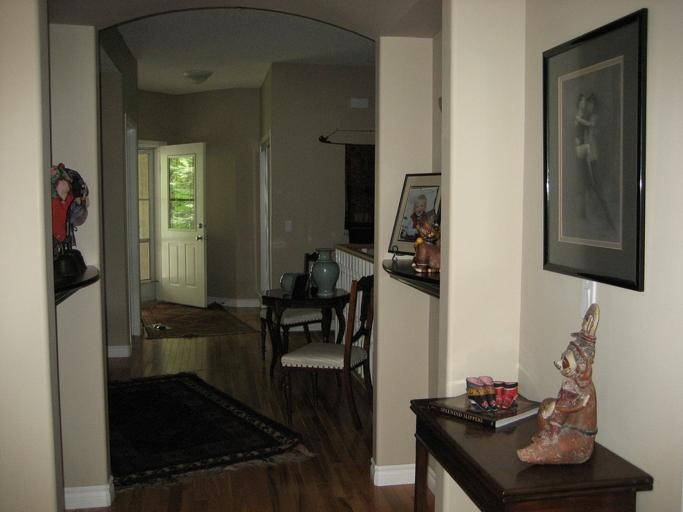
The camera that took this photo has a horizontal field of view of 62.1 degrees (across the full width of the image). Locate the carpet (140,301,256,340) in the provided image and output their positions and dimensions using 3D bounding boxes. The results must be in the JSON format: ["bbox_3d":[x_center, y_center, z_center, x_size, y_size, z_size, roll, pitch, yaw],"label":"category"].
[{"bbox_3d":[-1.897,0.792,7.190,1.217,0.052,2.062,-2,8,-22],"label":"carpet"}]

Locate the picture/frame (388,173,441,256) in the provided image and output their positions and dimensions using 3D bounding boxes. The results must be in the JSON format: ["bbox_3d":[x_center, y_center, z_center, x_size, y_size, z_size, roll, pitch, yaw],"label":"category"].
[{"bbox_3d":[0.383,-0.210,2.937,0.038,0.524,0.371,15,-1,-30],"label":"picture/frame"}]

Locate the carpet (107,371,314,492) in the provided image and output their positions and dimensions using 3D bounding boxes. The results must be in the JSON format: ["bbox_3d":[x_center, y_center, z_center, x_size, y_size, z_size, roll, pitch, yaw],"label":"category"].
[{"bbox_3d":[-1.084,1.176,4.112,1.177,0.043,1.766,-3,8,-27],"label":"carpet"}]

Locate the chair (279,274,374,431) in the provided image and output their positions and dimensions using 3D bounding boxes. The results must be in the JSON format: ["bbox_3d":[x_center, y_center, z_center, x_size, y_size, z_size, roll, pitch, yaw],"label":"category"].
[{"bbox_3d":[-0.054,0.635,4.234,0.641,1.121,1.069,2,7,10],"label":"chair"}]

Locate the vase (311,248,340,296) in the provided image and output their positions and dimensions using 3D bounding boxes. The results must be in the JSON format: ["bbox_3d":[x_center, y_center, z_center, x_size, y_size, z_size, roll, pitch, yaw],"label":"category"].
[{"bbox_3d":[-0.121,0.138,4.675,0.306,0.498,0.314,0,-6,4],"label":"vase"}]
